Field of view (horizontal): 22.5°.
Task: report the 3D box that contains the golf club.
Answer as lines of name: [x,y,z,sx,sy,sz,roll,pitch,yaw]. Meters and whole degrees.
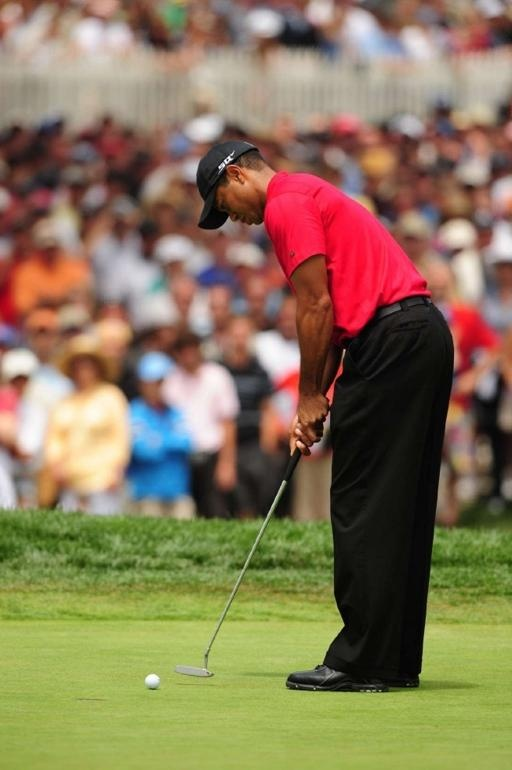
golf club: [-0.044,0.484,3.633,0.354,0.624,0.350,-7,9,-39]

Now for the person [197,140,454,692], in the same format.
person: [0.003,0.079,3.424,0.786,1.173,0.656,-4,7,-21]

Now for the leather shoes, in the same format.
leather shoes: [0.253,0.742,3.279,0.342,0.105,0.107,6,-14,-5]

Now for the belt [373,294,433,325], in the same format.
belt: [0.368,-0.199,3.247,0.097,0.019,0.088,-17,-5,-5]

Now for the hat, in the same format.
hat: [-0.095,-0.538,3.506,0.133,0.243,0.154,-10,10,-44]
